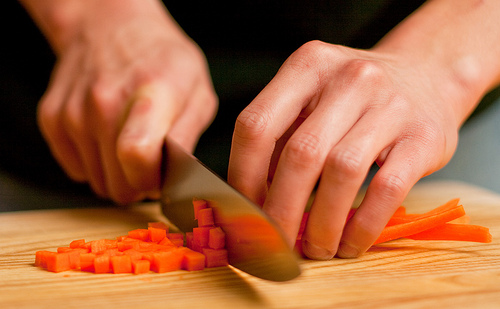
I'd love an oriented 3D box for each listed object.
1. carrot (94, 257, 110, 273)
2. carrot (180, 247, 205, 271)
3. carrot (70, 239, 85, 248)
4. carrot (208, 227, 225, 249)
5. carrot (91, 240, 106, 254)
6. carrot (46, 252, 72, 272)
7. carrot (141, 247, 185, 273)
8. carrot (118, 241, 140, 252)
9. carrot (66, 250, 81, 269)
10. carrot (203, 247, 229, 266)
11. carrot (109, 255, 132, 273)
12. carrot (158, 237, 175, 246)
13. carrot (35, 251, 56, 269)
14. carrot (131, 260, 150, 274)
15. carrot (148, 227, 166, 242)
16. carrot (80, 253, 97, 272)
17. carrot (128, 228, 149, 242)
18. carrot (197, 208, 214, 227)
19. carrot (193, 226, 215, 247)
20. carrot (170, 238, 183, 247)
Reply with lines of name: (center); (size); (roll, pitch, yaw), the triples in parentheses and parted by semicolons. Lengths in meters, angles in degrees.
carrot: (-0.592, 0.442, 1.922); (0.058, 0.056, 0.054); (-3, 95, -38)
carrot: (-0.223, 0.417, 1.959); (0.061, 0.107, 0.053); (-2, 104, -30)
carrot: (-0.737, 0.374, 2.038); (0.039, 0.037, 0.019); (-6, 86, 12)
carrot: (-0.132, 0.343, 2.009); (0.071, 0.092, 0.094); (-3, 90, -19)
carrot: (-0.624, 0.379, 1.987); (0.052, 0.014, 0.050); (-6, 81, -30)
carrot: (-0.767, 0.431, 1.934); (0.076, 0.075, 0.076); (1, 88, -40)
carrot: (-0.344, 0.412, 1.956); (0.108, 0.108, 0.040); (-5, 99, -27)
carrot: (-0.506, 0.379, 2.009); (0.055, 0.054, 0.021); (-5, 94, -37)
carrot: (-0.710, 0.424, 1.954); (0.066, 0.018, 0.066); (-1, 85, -26)
carrot: (-0.132, 0.409, 1.962); (0.076, 0.076, 0.053); (3, 88, -27)
carrot: (-0.519, 0.436, 1.923); (0.066, 0.068, 0.052); (-4, 85, 7)
carrot: (-0.352, 0.370, 2.031); (0.035, 0.009, 0.035); (-30, 53, -25)
carrot: (-0.837, 0.428, 1.969); (0.064, 0.066, 0.053); (2, 84, -8)
carrot: (-0.436, 0.450, 1.927); (0.082, 0.045, 0.058); (0, 96, -18)
carrot: (-0.394, 0.339, 2.059); (0.058, 0.059, 0.045); (10, 88, 15)
carrot: (-0.651, 0.436, 1.937); (0.064, 0.037, 0.064); (2, 94, 19)
carrot: (-0.474, 0.343, 2.063); (0.060, 0.028, 0.050); (8, 80, 17)
carrot: (-0.183, 0.258, 1.978); (0.062, 0.086, 0.086); (-2, 90, -6)
carrot: (-0.190, 0.335, 2.013); (0.082, 0.083, 0.083); (2, 90, -21)
carrot: (-0.312, 0.371, 2.066); (0.031, 0.042, 0.021); (1, 96, -27)
